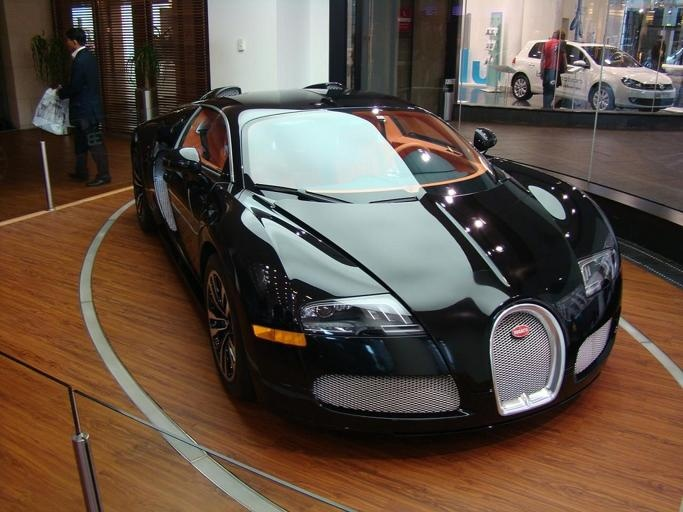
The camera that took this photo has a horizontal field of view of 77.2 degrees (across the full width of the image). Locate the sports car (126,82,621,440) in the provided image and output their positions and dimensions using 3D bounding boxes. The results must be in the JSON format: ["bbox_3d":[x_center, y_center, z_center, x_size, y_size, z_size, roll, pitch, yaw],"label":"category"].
[{"bbox_3d":[-0.090,-0.603,3.392,2.423,1.109,4.196,-12,31,-22],"label":"sports car"}]

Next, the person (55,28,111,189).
[{"bbox_3d":[-3.428,-1.957,5.668,0.533,1.975,0.759,-10,24,-25],"label":"person"}]
